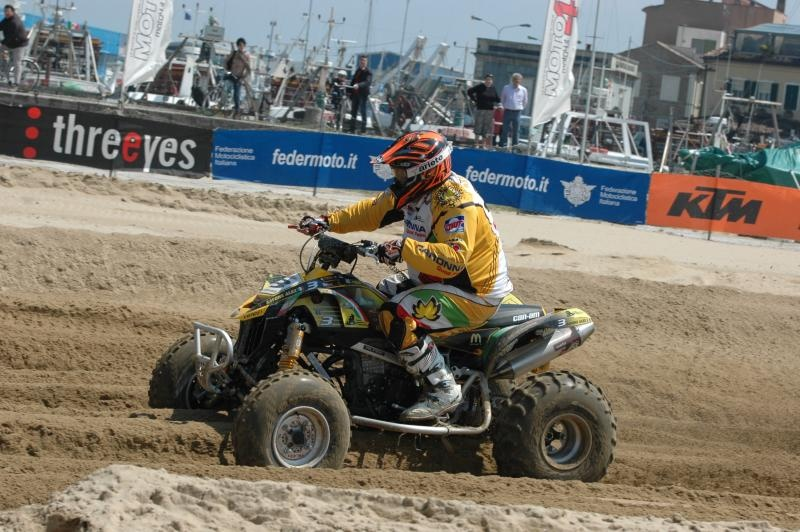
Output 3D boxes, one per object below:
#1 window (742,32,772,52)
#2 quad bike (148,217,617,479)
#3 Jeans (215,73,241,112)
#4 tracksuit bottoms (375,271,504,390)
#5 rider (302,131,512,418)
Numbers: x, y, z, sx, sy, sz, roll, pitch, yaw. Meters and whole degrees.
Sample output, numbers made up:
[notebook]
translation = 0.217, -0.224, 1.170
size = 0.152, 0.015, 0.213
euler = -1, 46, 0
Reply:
[window]
translation = 17.899, -11.315, 56.220
size = 1.142, 0.595, 1.063
euler = 4, 12, 18
[quad bike]
translation = -0.117, 1.041, 13.496
size = 5.274, 2.690, 1.212
euler = 6, 8, -8
[Jeans]
translation = -4.280, -4.175, 26.636
size = 0.316, 0.995, 0.804
euler = 9, 6, 31
[tracksuit bottoms]
translation = 0.475, 0.629, 13.767
size = 1.344, 1.246, 0.478
euler = 33, 3, -10
[rider]
translation = 0.180, 0.001, 14.211
size = 2.536, 3.167, 2.010
euler = 12, 14, 40
